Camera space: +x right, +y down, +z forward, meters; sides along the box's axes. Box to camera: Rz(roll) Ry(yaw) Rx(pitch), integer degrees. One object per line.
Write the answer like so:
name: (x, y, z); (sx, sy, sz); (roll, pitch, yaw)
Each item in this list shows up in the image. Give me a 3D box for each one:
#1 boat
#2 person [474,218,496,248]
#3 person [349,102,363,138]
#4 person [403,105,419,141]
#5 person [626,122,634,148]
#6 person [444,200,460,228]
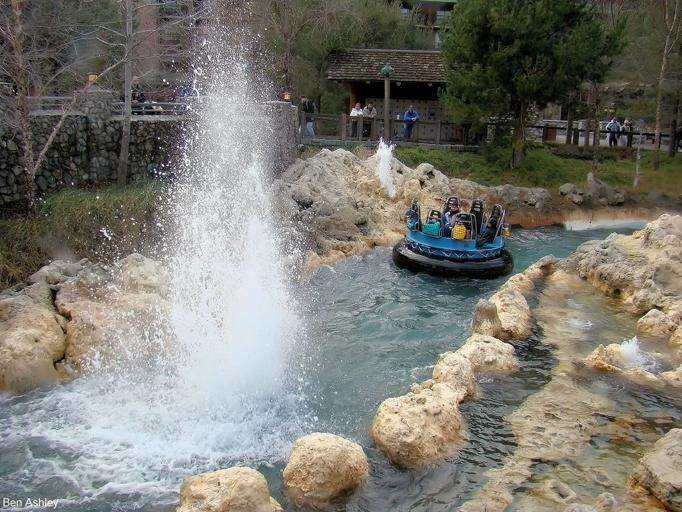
boat: (3.865, -0.650, 18.770); (3.663, 2.500, 1.973); (3, 10, 9)
person: (4.982, -0.729, 18.770); (0.852, 1.024, 0.663); (-10, 4, -22)
person: (0.811, -7.031, 28.764); (0.617, 1.755, 1.255); (1, 10, 1)
person: (3.749, -7.148, 29.838); (0.714, 1.859, 0.699); (2, 10, 7)
person: (16.916, -7.156, 32.577); (0.359, 1.596, 2.683); (6, 11, 25)
person: (3.793, -1.439, 19.219); (0.362, 0.473, 1.338); (8, 55, 17)
